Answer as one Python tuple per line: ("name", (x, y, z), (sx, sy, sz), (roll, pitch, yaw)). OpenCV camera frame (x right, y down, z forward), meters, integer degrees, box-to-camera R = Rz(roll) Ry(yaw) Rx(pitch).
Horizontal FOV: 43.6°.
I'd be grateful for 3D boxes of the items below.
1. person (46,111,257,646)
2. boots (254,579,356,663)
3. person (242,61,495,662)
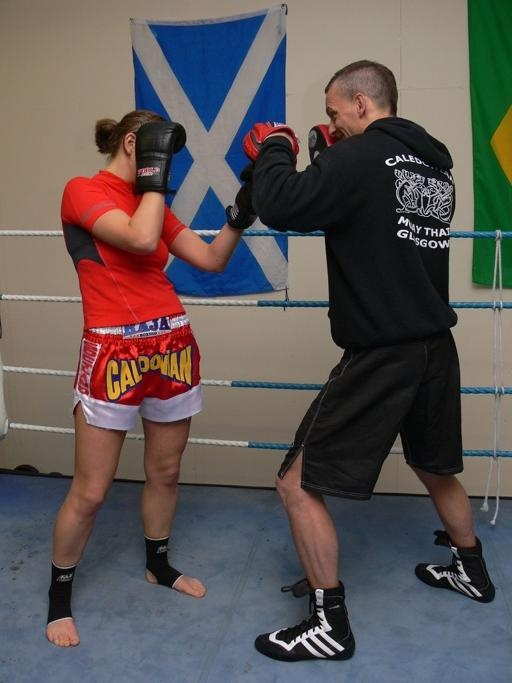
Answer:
("person", (-0.328, 0.051, 1.767), (0.670, 1.347, 0.345), (-9, 14, -38))
("boots", (0.091, 0.710, 1.633), (0.327, 0.217, 0.121), (1, -11, 8))
("person", (0.263, 0.116, 1.575), (0.544, 1.301, 0.315), (-1, 11, -1))
